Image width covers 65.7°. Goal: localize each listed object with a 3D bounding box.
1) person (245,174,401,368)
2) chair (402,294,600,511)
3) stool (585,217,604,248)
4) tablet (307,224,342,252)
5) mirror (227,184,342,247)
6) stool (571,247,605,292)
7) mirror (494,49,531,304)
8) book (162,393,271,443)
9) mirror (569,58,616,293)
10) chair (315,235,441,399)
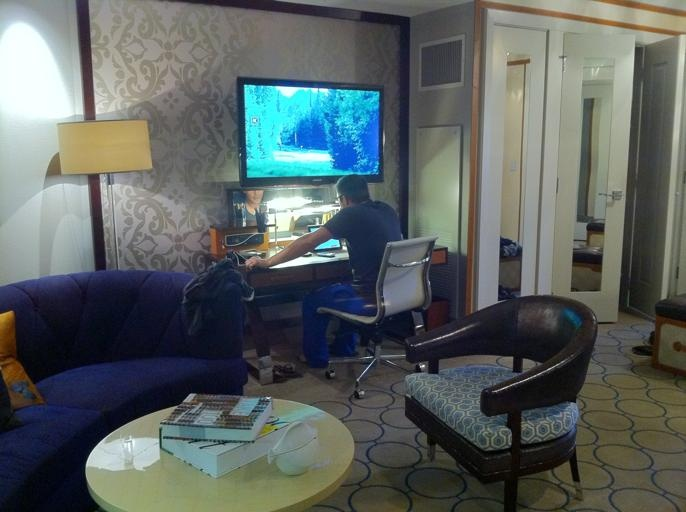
[{"bbox_3d":[0.013,0.160,4.038,0.800,1.517,1.411,14,15,41],"label":"person"},{"bbox_3d":[0.795,0.698,2.651,0.767,0.904,0.722,-9,13,-28],"label":"chair"},{"bbox_3d":[2.298,-0.202,4.936,0.195,0.219,0.312,2,7,19],"label":"stool"},{"bbox_3d":[-0.139,-0.191,4.297,0.289,0.257,0.199,-10,10,-39],"label":"tablet"},{"bbox_3d":[-0.512,-0.261,4.367,0.923,0.549,0.302,0,-18,-9],"label":"mirror"},{"bbox_3d":[2.217,0.116,4.853,0.361,0.364,0.218,2,-1,-2],"label":"stool"},{"bbox_3d":[1.569,-0.663,4.905,0.222,2.166,0.718,1,12,17],"label":"mirror"},{"bbox_3d":[-0.517,0.662,2.151,0.229,0.056,0.244,2,9,9],"label":"book"},{"bbox_3d":[2.219,-0.694,4.731,0.299,2.022,0.230,0,12,12],"label":"mirror"},{"bbox_3d":[0.260,0.388,3.811,0.698,1.018,0.748,-6,6,-35],"label":"chair"}]
